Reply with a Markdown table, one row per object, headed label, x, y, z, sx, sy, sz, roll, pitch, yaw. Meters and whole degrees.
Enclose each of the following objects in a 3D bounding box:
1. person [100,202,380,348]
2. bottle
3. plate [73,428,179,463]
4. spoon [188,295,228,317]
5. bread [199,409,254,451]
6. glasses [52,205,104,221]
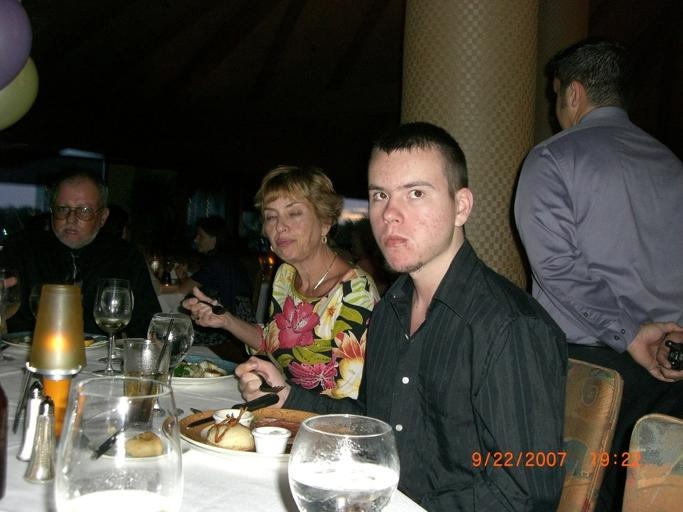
| label | x | y | z | sx | sy | sz | roll | pitch | yaw |
| --- | --- | --- | --- | --- | --- | --- | --- | --- | --- |
| person | -0.377 | -0.052 | 2.542 | 0.742 | 0.756 | 0.306 | -24 | 6 | 45 |
| bottle | -0.705 | 0.402 | 1.329 | 0.075 | 0.237 | 0.163 | 4 | -1 | -28 |
| plate | -0.363 | 0.325 | 0.982 | 0.104 | 0.026 | 0.061 | 1 | 4 | -8 |
| spoon | -0.544 | 0.206 | 2.353 | 0.155 | 0.079 | 0.143 | 5 | -2 | -30 |
| bread | -0.289 | 0.439 | 1.482 | 0.100 | 0.100 | 0.098 | 5 | -9 | 22 |
| glasses | -1.493 | -0.236 | 3.220 | 0.240 | 0.087 | 0.104 | 5 | -1 | -21 |
